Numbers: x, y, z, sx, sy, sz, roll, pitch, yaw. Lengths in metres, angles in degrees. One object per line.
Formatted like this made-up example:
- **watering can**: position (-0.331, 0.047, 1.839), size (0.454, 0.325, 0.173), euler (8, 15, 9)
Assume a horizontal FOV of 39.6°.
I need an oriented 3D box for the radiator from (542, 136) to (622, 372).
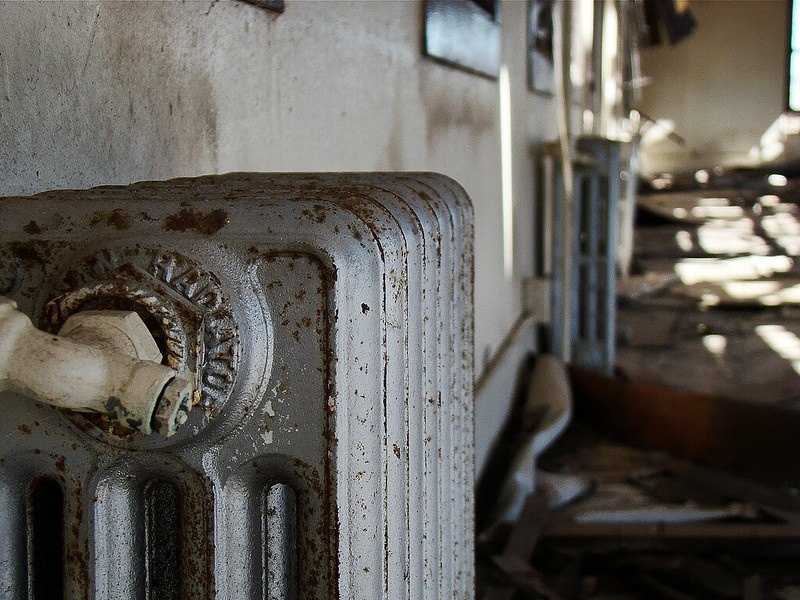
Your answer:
- **radiator**: position (0.484, -0.108, 2.924), size (0.191, 0.605, 0.429), euler (0, 3, 7)
